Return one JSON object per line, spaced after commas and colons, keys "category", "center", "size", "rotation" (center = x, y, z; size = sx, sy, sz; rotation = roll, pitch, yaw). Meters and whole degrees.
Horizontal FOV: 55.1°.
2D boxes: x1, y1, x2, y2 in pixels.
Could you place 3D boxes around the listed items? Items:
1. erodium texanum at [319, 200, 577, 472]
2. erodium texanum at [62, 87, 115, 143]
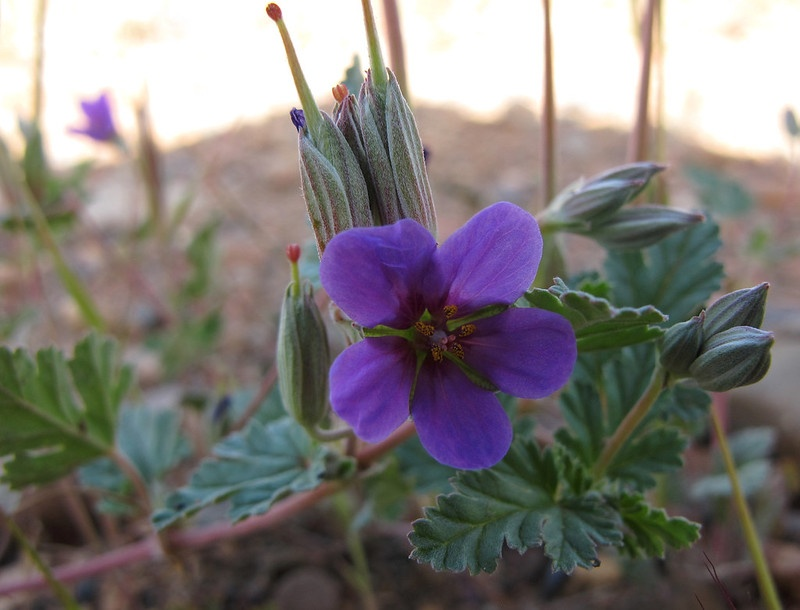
{"category": "erodium texanum", "center": [0.074, 0.042, 1.464], "size": [0.434, 0.487, 0.119], "rotation": [5, -29, 14]}
{"category": "erodium texanum", "center": [-0.721, -0.445, 1.815], "size": [0.100, 0.114, 0.033], "rotation": [6, 6, 13]}
